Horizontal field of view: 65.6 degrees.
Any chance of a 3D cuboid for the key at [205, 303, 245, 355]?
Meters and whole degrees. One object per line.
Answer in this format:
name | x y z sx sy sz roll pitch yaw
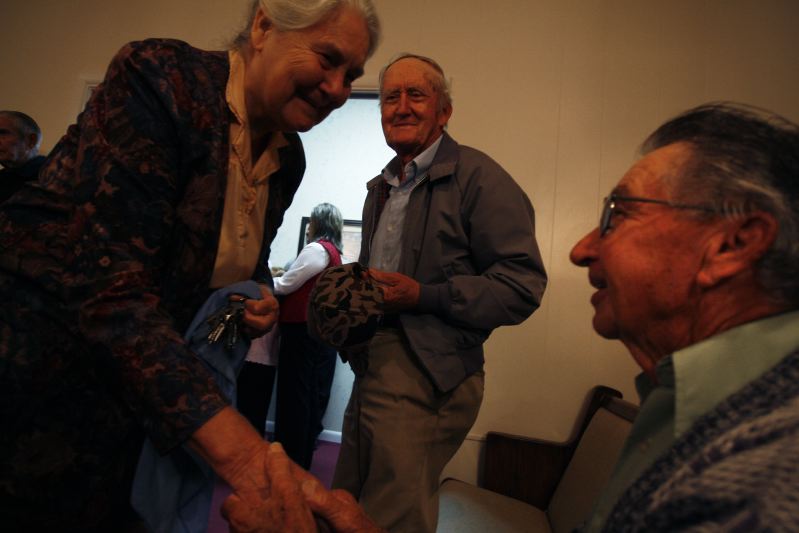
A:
key | -0.547 0.191 1.962 0.094 0.146 0.073 25 -2 -11
